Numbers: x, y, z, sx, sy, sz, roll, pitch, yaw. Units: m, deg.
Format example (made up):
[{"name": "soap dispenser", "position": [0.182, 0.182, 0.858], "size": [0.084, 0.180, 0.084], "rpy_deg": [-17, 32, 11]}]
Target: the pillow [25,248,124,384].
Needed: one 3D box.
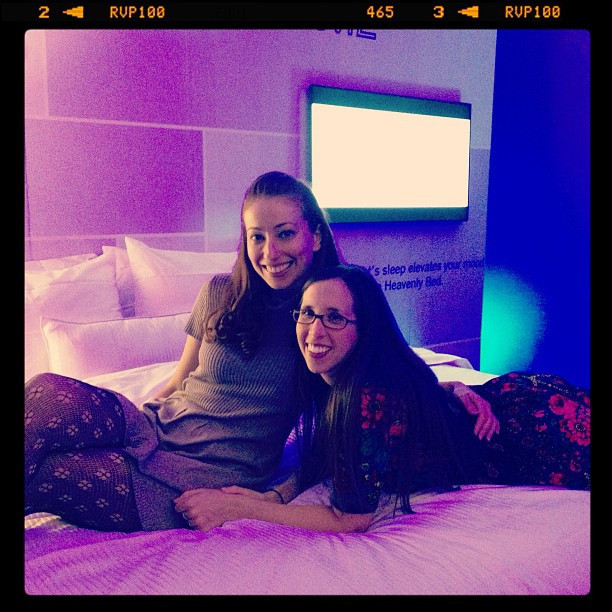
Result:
[{"name": "pillow", "position": [-0.572, 0.037, 1.478], "size": [0.077, 0.271, 0.263], "rpy_deg": [1, 10, 30]}]

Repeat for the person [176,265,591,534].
[{"name": "person", "position": [0.285, 0.235, 1.746], "size": [1.344, 0.615, 0.403], "rpy_deg": [1, 7, -36]}]

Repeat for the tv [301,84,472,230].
[{"name": "tv", "position": [0.213, -0.365, 1.513], "size": [0.452, 0.356, 0.048], "rpy_deg": [1, 7, -6]}]

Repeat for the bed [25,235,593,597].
[{"name": "bed", "position": [-0.010, 0.247, 1.428], "size": [1.273, 0.793, 0.348], "rpy_deg": [2, 7, 0]}]

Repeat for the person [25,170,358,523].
[{"name": "person", "position": [-0.274, 0.098, 1.482], "size": [0.801, 0.617, 0.366], "rpy_deg": [-17, 41, -27]}]

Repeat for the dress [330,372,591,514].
[{"name": "dress", "position": [0.384, 0.338, 1.523], "size": [0.545, 0.185, 0.312], "rpy_deg": [-6, 18, 14]}]
